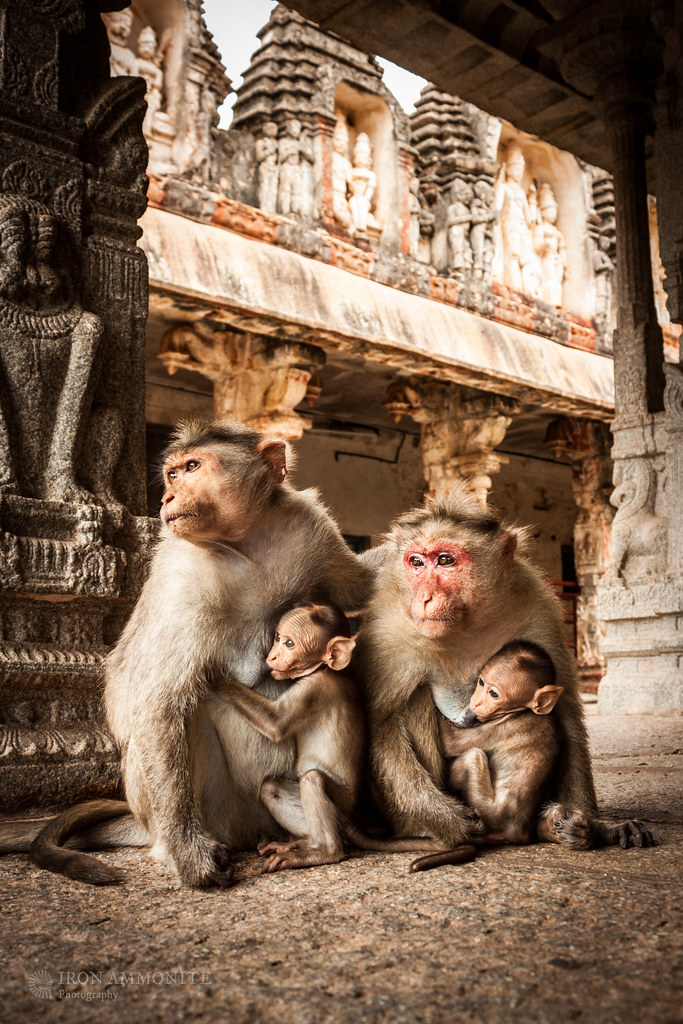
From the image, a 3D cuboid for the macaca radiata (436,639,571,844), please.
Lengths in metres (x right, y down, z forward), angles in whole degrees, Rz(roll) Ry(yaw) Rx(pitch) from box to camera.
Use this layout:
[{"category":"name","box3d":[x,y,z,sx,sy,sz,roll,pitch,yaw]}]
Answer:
[{"category":"macaca radiata","box3d":[0.372,0.527,2.942,0.347,0.479,0.307,-4,13,-20]}]

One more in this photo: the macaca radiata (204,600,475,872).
[{"category":"macaca radiata","box3d":[-0.126,0.513,2.796,0.337,0.588,0.229,-3,-4,8]}]
